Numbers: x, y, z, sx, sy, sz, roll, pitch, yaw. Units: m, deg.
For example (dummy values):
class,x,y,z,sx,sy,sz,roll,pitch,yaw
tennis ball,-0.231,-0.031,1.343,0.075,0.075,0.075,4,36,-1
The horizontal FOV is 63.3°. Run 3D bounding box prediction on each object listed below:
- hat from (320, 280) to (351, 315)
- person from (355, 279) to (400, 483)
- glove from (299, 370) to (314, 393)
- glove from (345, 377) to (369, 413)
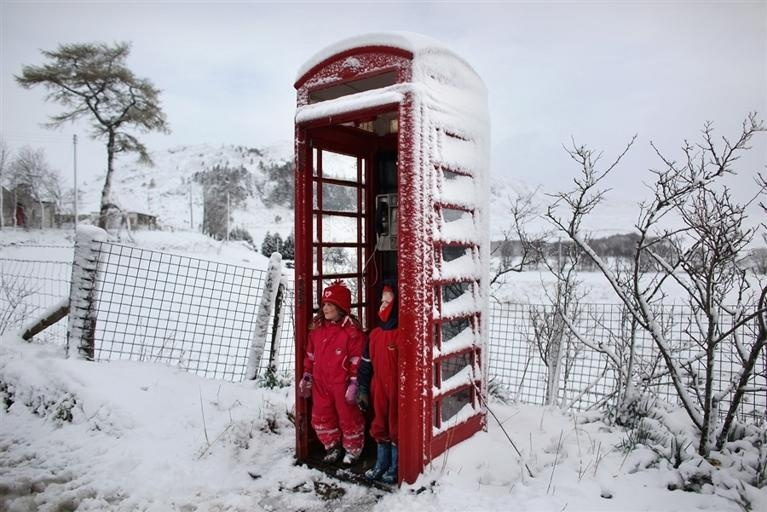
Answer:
class,x,y,z,sx,sy,sz,roll,pitch,yaw
hat,-0.592,0.532,7.932,0.282,0.353,0.392,5,-3,32
person,-0.056,1.563,7.628,0.529,2.424,0.290,0,-4,16
glove,-0.980,1.633,7.941,0.101,0.257,0.196,8,6,-29
glove,-0.339,1.745,7.679,0.155,0.400,0.262,0,-17,-41
